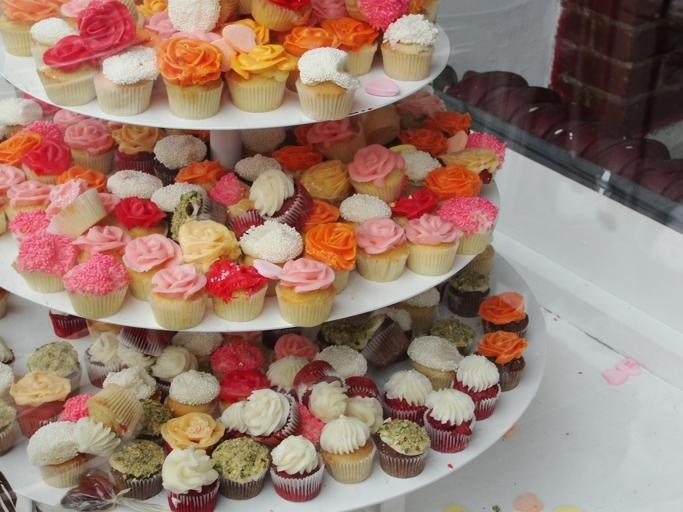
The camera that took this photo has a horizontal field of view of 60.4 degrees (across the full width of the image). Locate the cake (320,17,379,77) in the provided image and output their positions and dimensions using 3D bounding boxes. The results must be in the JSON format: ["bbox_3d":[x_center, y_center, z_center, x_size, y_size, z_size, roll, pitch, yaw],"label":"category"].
[{"bbox_3d":[0.042,-0.663,1.918,0.196,0.156,0.184,-10,47,-13],"label":"cake"}]

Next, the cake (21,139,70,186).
[{"bbox_3d":[-0.988,-0.317,2.020,0.153,0.056,0.155,38,62,8],"label":"cake"}]

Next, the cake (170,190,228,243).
[{"bbox_3d":[-0.430,-0.129,1.848,0.151,0.160,0.138,-3,87,0],"label":"cake"}]

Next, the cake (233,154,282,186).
[{"bbox_3d":[-0.287,-0.308,1.990,0.128,0.058,0.113,-18,40,-28],"label":"cake"}]

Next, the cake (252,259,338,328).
[{"bbox_3d":[-0.107,0.100,1.716,0.259,0.161,0.159,18,49,15],"label":"cake"}]

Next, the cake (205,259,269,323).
[{"bbox_3d":[-0.307,0.077,1.699,0.179,0.129,0.179,0,34,-10],"label":"cake"}]

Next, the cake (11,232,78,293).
[{"bbox_3d":[-0.823,0.014,1.719,0.173,0.149,0.175,3,38,-4],"label":"cake"}]

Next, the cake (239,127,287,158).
[{"bbox_3d":[-0.296,-0.419,2.179,0.127,0.059,0.115,-8,26,-12],"label":"cake"}]

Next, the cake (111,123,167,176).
[{"bbox_3d":[-0.758,-0.396,2.221,0.169,0.154,0.189,-30,52,-34],"label":"cake"}]

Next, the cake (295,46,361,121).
[{"bbox_3d":[-0.035,-0.499,1.761,0.216,0.184,0.209,1,44,-3],"label":"cake"}]

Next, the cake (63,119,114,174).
[{"bbox_3d":[-0.899,-0.388,2.086,0.156,0.166,0.157,-26,60,-22],"label":"cake"}]

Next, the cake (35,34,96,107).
[{"bbox_3d":[-0.745,-0.521,1.716,0.186,0.174,0.190,0,52,-8],"label":"cake"}]

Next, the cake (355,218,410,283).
[{"bbox_3d":[0.124,-0.013,1.858,0.159,0.162,0.176,30,57,30],"label":"cake"}]

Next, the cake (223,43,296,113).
[{"bbox_3d":[-0.235,-0.506,1.768,0.225,0.149,0.198,-16,47,-21],"label":"cake"}]

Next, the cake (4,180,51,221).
[{"bbox_3d":[-0.979,-0.180,1.855,0.155,0.068,0.131,-4,45,3],"label":"cake"}]

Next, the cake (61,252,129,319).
[{"bbox_3d":[-0.670,0.086,1.689,0.187,0.157,0.185,-1,41,-9],"label":"cake"}]

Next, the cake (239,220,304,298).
[{"bbox_3d":[-0.219,0.004,1.755,0.164,0.143,0.131,-16,60,-16],"label":"cake"}]

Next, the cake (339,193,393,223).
[{"bbox_3d":[0.079,-0.166,1.881,0.151,0.041,0.080,-4,74,-3],"label":"cake"}]

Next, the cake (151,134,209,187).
[{"bbox_3d":[-0.569,-0.350,2.167,0.207,0.133,0.162,-9,55,-7],"label":"cake"}]
